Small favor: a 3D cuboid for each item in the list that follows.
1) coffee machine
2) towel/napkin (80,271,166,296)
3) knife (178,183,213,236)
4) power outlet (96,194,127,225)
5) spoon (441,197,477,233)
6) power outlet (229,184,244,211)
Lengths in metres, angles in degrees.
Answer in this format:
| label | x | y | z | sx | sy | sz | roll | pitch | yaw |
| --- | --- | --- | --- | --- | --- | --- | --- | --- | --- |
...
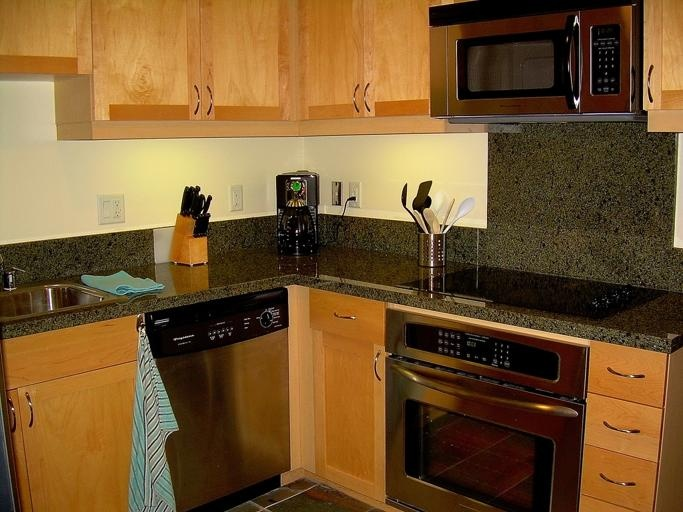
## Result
| label | x | y | z | sx | sy | sz | roll | pitch | yaw |
| --- | --- | --- | --- | --- | --- | --- | --- | --- | --- |
| coffee machine | -0.246 | -0.236 | 2.960 | 0.231 | 0.427 | 0.218 | -1 | 13 | -1 |
| towel/napkin | -0.920 | 0.114 | 2.313 | 0.369 | 0.045 | 0.238 | 12 | 19 | 42 |
| knife | -0.745 | -0.227 | 2.743 | 0.131 | 0.252 | 0.246 | -11 | 17 | -36 |
| power outlet | -1.117 | -0.228 | 2.623 | 0.134 | 0.156 | 0.016 | -4 | 8 | -43 |
| spoon | 0.545 | -0.202 | 2.537 | 0.048 | 0.084 | 0.370 | -12 | -19 | -13 |
| power outlet | -0.587 | -0.322 | 3.047 | 0.019 | 0.146 | 0.095 | 9 | 17 | 39 |
